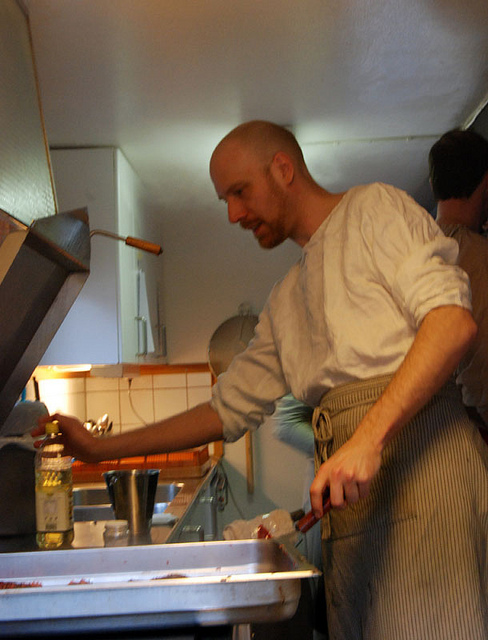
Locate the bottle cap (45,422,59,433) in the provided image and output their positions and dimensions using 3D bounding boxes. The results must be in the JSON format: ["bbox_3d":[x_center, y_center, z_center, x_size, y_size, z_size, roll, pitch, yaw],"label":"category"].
[{"bbox_3d":[-0.334,0.188,1.073,0.019,0.016,0.018,0,-11,-4],"label":"bottle cap"}]

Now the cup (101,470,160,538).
[{"bbox_3d":[-0.226,0.372,1.256,0.128,0.129,0.138,-2,-12,0],"label":"cup"}]
